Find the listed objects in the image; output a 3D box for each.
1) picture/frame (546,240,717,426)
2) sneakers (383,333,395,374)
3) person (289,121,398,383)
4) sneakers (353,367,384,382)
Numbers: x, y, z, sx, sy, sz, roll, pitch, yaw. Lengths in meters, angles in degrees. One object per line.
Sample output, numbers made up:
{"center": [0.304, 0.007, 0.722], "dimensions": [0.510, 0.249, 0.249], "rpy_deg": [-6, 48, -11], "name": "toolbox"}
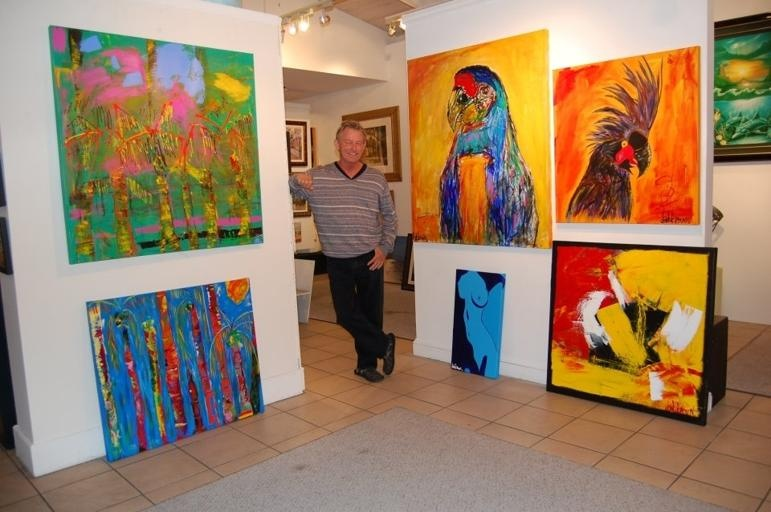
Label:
{"center": [1.935, 0.604, 4.024], "dimensions": [1.392, 1.431, 0.116], "rpy_deg": [2, 2, 33], "name": "picture/frame"}
{"center": [0.057, 0.909, 4.886], "dimensions": [0.138, 0.334, 0.124], "rpy_deg": [1, 3, -16], "name": "sneakers"}
{"center": [-0.313, -0.012, 4.714], "dimensions": [0.857, 2.309, 0.385], "rpy_deg": [-3, 11, -4], "name": "person"}
{"center": [-0.132, 1.081, 4.856], "dimensions": [0.234, 0.090, 0.102], "rpy_deg": [6, 10, 39], "name": "sneakers"}
